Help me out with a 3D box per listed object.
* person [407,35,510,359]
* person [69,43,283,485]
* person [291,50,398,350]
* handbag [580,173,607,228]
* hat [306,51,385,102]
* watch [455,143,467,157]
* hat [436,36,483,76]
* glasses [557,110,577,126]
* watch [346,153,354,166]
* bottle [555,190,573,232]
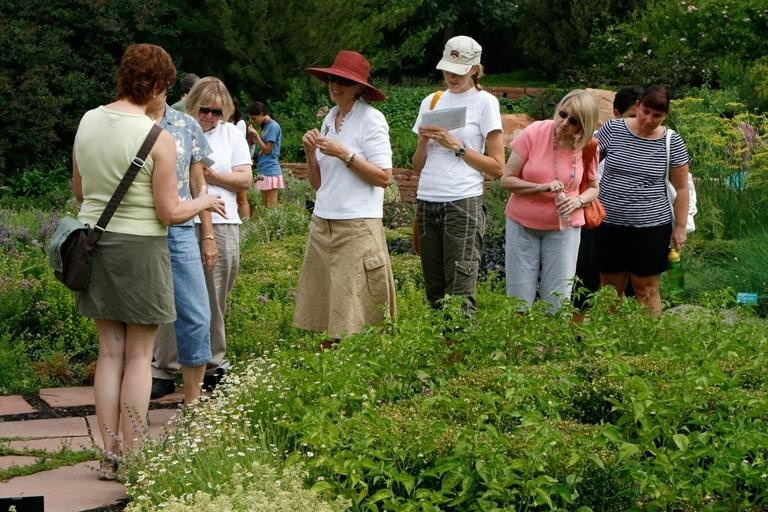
[{"bbox_3d":[0.614,-0.707,6.722,0.584,2.267,0.694,-9,14,-41],"label":"person"},{"bbox_3d":[-1.725,0.013,5.384,0.822,2.892,0.706,-4,11,-22],"label":"person"},{"bbox_3d":[-0.314,-0.418,6.310,0.854,2.418,0.826,2,11,13],"label":"person"},{"bbox_3d":[1.803,-0.473,6.805,0.210,0.466,0.350,-12,16,22],"label":"handbag"},{"bbox_3d":[-0.235,-1.574,6.548,0.542,0.237,0.533,13,-14,5],"label":"hat"},{"bbox_3d":[0.643,-0.876,6.586,0.110,0.096,0.073,-17,57,-26],"label":"watch"},{"bbox_3d":[0.638,-1.695,6.657,0.278,0.210,0.395,19,34,21],"label":"hat"},{"bbox_3d":[1.516,-1.141,6.478,0.108,0.046,0.124,16,-26,29],"label":"glasses"},{"bbox_3d":[-0.275,-0.761,6.196,0.060,0.093,0.088,19,3,-1],"label":"watch"},{"bbox_3d":[1.501,-0.379,6.556,0.087,0.329,0.165,8,13,36],"label":"bottle"}]
